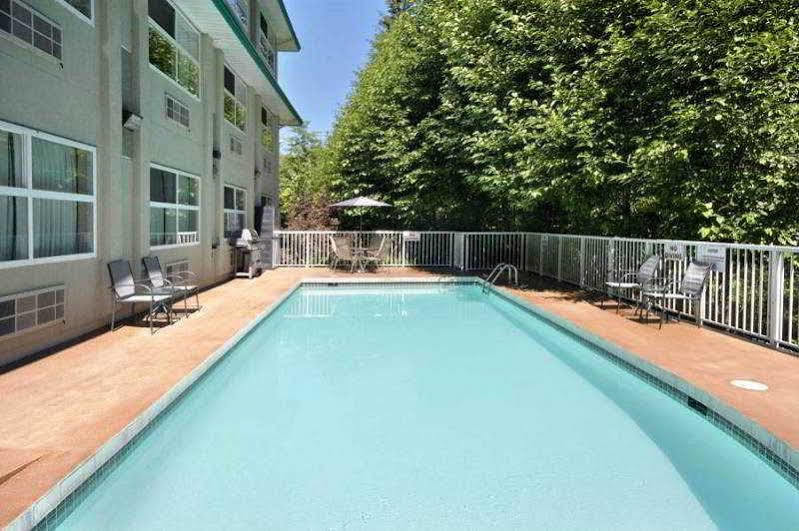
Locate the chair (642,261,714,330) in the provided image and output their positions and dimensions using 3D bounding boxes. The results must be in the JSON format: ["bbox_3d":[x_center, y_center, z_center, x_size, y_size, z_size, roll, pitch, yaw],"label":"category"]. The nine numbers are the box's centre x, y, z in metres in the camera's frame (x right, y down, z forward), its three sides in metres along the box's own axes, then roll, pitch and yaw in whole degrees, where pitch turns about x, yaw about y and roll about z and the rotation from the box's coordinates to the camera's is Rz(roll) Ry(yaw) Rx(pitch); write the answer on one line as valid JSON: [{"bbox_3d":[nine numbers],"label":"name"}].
[{"bbox_3d":[5.383,0.518,10.479,1.049,1.262,0.865,2,3,-2],"label":"chair"}]

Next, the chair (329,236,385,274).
[{"bbox_3d":[-1.470,-0.300,18.549,1.795,1.209,1.232,-6,7,-41],"label":"chair"}]

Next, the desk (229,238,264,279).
[{"bbox_3d":[-4.705,-0.293,16.927,0.695,1.208,1.652,1,3,-2],"label":"desk"}]

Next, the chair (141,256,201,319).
[{"bbox_3d":[-4.776,0.446,11.177,0.838,1.167,0.845,1,7,7],"label":"chair"}]

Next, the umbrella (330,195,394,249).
[{"bbox_3d":[-1.474,-1.831,22.666,2.916,2.523,2.711,-3,4,-42],"label":"umbrella"}]

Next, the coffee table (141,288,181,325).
[{"bbox_3d":[-4.636,0.721,10.573,0.542,0.672,0.583,8,1,-41],"label":"coffee table"}]

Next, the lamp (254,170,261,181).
[{"bbox_3d":[-4.942,-3.100,18.811,0.248,0.344,0.349,-1,2,13],"label":"lamp"}]

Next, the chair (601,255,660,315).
[{"bbox_3d":[4.973,0.382,11.546,0.961,1.281,0.878,7,6,14],"label":"chair"}]

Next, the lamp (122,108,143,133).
[{"bbox_3d":[-5.345,-2.886,10.763,0.246,0.384,0.447,2,9,-1],"label":"lamp"}]
